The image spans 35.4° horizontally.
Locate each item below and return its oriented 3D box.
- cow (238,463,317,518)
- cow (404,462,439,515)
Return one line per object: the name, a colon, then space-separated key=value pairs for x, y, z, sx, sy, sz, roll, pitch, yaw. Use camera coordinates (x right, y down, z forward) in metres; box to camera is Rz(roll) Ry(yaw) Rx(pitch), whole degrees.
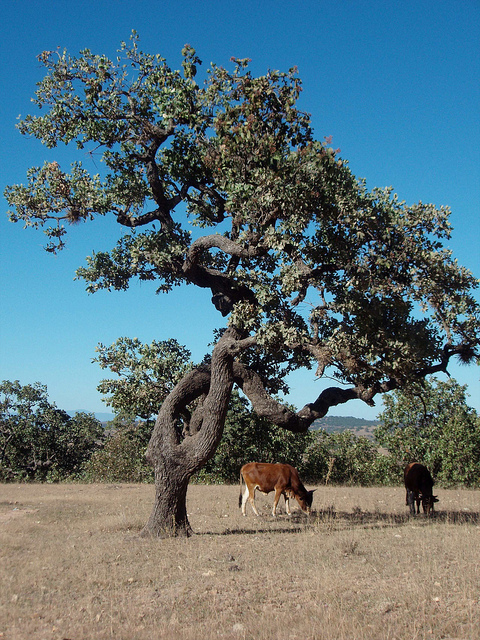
cow: x=1.044 y=5.027 z=22.265 sx=2.073 sy=1.547 sz=1.418 roll=-1 pitch=-6 yaw=5
cow: x=5.493 y=5.185 z=23.323 sx=0.563 sy=1.277 sz=2.351 roll=8 pitch=2 yaw=-7
